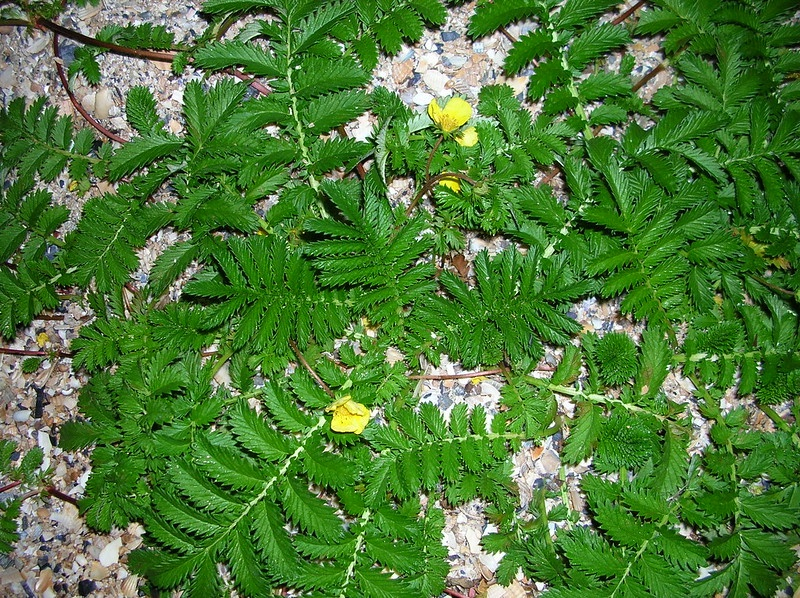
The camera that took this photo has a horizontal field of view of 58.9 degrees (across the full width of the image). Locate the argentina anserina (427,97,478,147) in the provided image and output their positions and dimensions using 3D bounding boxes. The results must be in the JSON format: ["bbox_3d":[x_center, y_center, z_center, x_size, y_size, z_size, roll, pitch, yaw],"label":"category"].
[{"bbox_3d":[0.240,-0.804,3.237,0.201,0.178,0.226,-16,74,-4],"label":"argentina anserina"}]
